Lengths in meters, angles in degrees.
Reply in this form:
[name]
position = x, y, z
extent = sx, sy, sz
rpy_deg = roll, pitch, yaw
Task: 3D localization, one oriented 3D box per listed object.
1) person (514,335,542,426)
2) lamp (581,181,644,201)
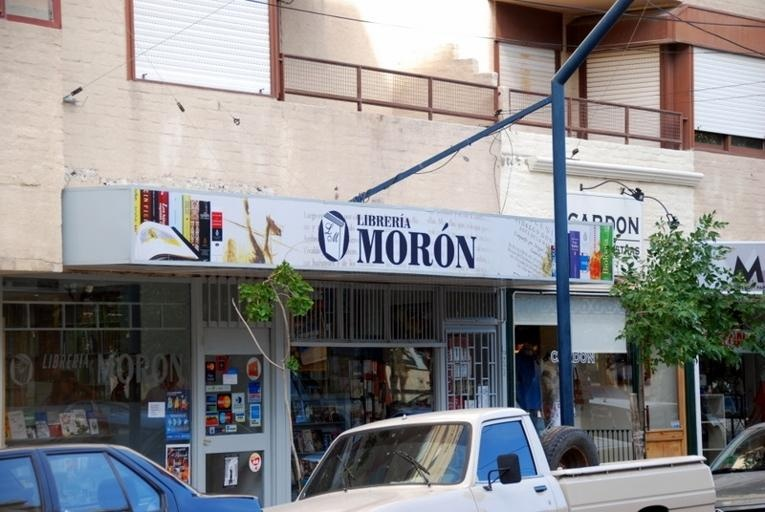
[person]
position = 2.948, 2.809, 27.206
extent = 0.616, 2.065, 0.548
rpy_deg = -2, 23, 4
[lamp]
position = 4.999, -1.374, 27.776
extent = 0.679, 0.185, 0.697
rpy_deg = 4, -7, 28
